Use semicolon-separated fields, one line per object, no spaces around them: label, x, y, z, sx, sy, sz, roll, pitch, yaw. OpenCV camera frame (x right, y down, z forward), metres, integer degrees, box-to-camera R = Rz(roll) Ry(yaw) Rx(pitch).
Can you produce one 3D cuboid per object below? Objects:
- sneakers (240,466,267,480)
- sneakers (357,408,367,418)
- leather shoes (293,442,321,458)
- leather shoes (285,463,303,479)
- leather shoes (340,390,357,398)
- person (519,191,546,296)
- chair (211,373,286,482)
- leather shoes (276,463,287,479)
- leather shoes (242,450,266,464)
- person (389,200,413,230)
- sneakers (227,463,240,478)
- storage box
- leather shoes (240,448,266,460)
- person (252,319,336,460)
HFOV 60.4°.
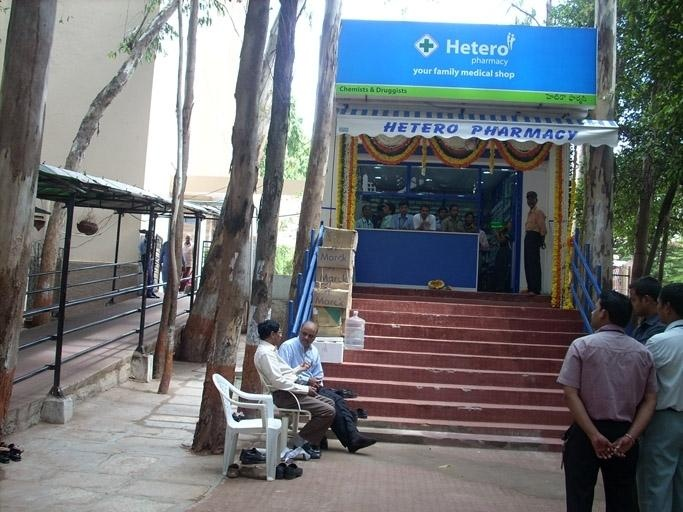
sneakers;-0.975;2.407;6.532;0.201;0.072;0.129;-1;-10;8
sneakers;0.280;2.171;8.149;0.122;0.137;0.109;-7;-13;30
leather shoes;-0.386;2.420;7.334;0.132;0.198;0.430;1;-5;13
leather shoes;-0.545;2.391;6.573;0.213;0.094;0.282;2;1;-3
leather shoes;0.092;1.990;8.505;0.102;0.132;0.323;5;3;29
person;4.148;-0.286;12.587;0.435;1.889;0.386;2;1;4
chair;-1.024;1.920;6.633;0.814;1.039;0.793;4;-7;-26
leather shoes;-0.684;2.387;6.487;0.057;0.068;0.165;2;0;3
leather shoes;-1.041;2.332;6.860;0.234;0.106;0.142;0;-3;-6
person;1.422;-0.918;13.499;0.609;0.916;0.518;2;-28;1
sneakers;-1.200;2.365;6.475;0.139;0.146;0.095;0;1;1
storage box;-0.127;0.690;9.982;0.645;1.972;1.749;5;-14;0
leather shoes;-1.040;2.313;6.877;0.282;0.137;0.133;0;-4;-6
person;-0.598;1.659;7.449;0.860;1.798;0.695;-4;-1;-11
